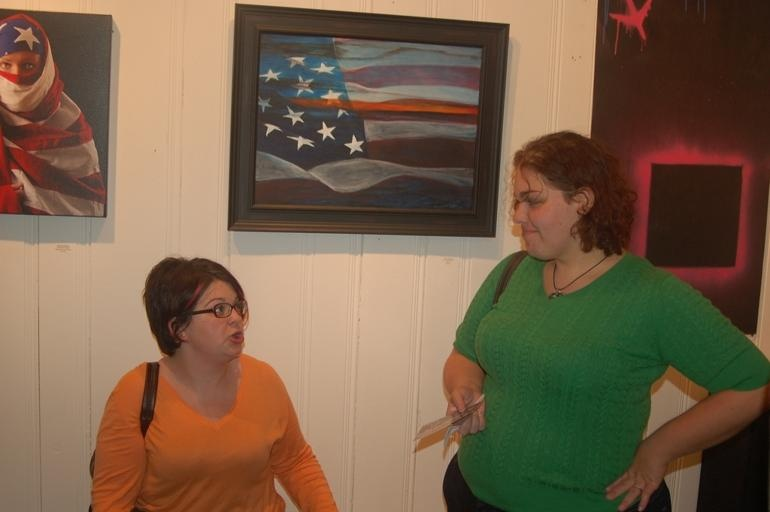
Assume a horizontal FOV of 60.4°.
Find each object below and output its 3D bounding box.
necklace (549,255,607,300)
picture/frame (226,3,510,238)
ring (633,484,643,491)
[{"bbox_3d":[0.680,0.072,2.368,0.019,0.159,0.165,42,-3,-7],"label":"necklace"},{"bbox_3d":[-0.124,-0.618,2.875,1.039,0.778,0.044,3,3,-7],"label":"picture/frame"},{"bbox_3d":[0.856,0.781,2.239,0.015,0.013,0.040,4,-9,38],"label":"ring"}]
